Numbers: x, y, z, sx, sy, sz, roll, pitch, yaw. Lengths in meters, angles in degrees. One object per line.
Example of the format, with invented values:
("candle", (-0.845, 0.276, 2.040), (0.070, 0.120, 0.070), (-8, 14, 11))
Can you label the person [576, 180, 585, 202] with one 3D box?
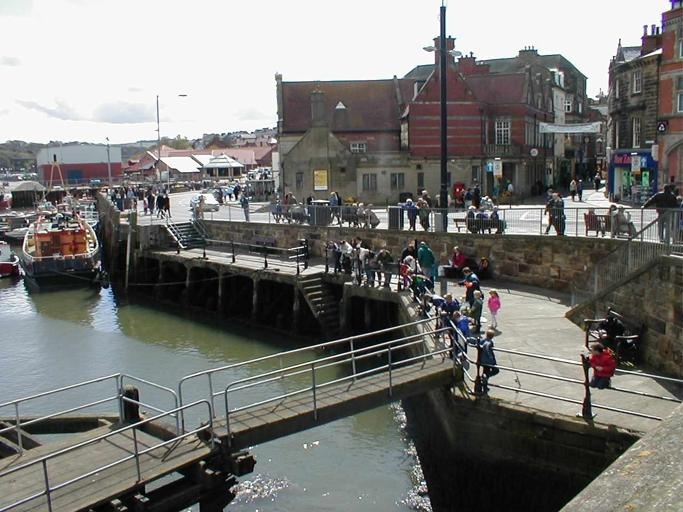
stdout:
("person", (16.308, -4.512, 43.106), (0.305, 1.453, 2.220), (0, 7, 17))

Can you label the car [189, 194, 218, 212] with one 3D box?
("car", (-10.473, -4.012, 47.607), (2.056, 0.745, 2.332), (1, 18, -6))

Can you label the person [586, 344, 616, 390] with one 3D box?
("person", (5.761, 2.458, 13.942), (0.498, 1.124, 0.734), (1, 6, 23))

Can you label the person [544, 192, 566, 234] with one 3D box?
("person", (8.413, -1.638, 24.774), (0.735, 1.556, 1.198), (0, 6, 19))

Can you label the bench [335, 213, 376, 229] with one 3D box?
("bench", (0.913, -1.715, 31.199), (1.363, 0.844, 0.841), (2, 12, 14))

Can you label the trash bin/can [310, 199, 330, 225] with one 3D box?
("trash bin/can", (-1.097, -2.257, 33.247), (0.995, 1.326, 1.118), (3, 13, 13))
